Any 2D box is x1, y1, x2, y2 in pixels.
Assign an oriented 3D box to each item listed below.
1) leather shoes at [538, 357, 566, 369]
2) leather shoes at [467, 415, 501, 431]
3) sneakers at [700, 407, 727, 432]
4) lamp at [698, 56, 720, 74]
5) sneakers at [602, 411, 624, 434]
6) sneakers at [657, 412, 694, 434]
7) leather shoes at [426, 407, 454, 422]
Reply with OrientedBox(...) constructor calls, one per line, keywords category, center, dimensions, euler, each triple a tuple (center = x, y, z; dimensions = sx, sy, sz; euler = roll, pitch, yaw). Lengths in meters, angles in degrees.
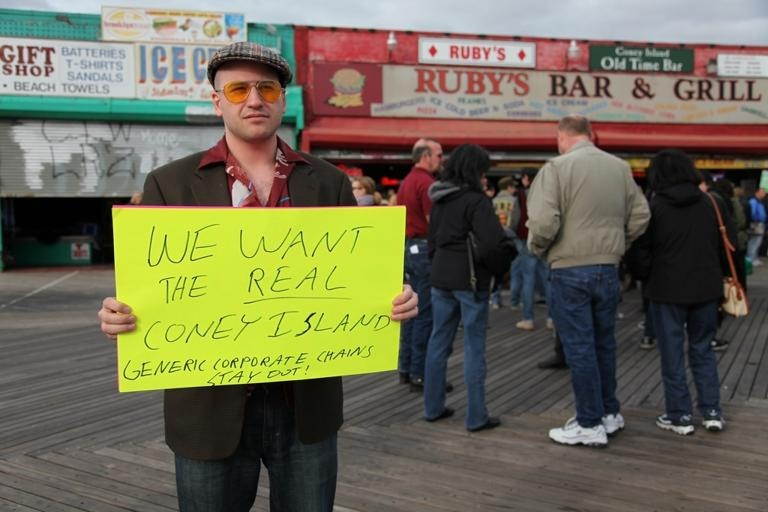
OrientedBox(category="leather shoes", center=(2.263, 1.429, 11.252), dimensions=(0.390, 0.242, 0.149), euler=(2, 1, 10))
OrientedBox(category="leather shoes", center=(1.179, 1.952, 9.610), dimensions=(0.405, 0.180, 0.143), euler=(-9, 11, -27))
OrientedBox(category="sneakers", center=(3.750, 1.876, 9.527), dimensions=(0.197, 0.207, 0.462), euler=(-2, -10, 18))
OrientedBox(category="lamp", center=(8.146, -4.726, 21.033), dimensions=(0.567, 0.459, 0.121), euler=(-6, 12, -13))
OrientedBox(category="sneakers", center=(2.609, 1.899, 9.508), dimensions=(0.139, 0.163, 0.359), euler=(0, 7, 26))
OrientedBox(category="sneakers", center=(3.315, 1.906, 9.489), dimensions=(0.175, 0.202, 0.409), euler=(1, 7, -40))
OrientedBox(category="leather shoes", center=(0.674, 1.881, 9.895), dimensions=(0.366, 0.154, 0.130), euler=(-11, 13, -30))
